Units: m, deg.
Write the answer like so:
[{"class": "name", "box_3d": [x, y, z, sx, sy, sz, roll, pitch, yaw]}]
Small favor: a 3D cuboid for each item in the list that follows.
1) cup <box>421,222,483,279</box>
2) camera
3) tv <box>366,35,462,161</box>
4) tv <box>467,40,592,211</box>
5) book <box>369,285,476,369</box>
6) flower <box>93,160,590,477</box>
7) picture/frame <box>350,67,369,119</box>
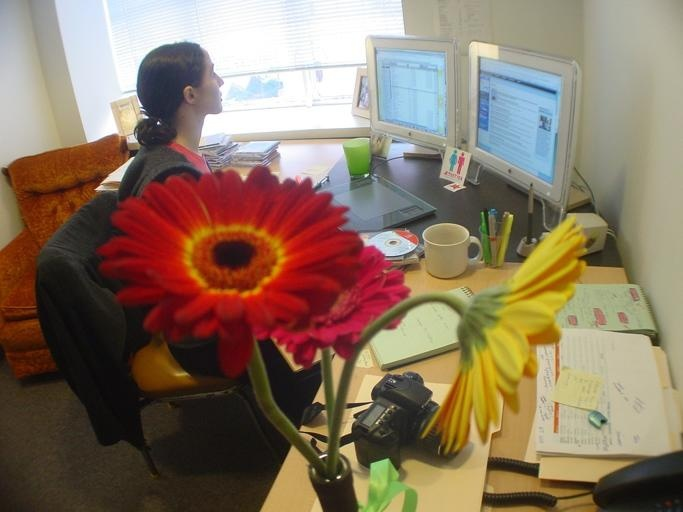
[{"class": "cup", "box_3d": [0.361, -0.006, 1.535, 0.186, 0.142, 0.154, 1, 45, 9]}, {"class": "camera", "box_3d": [0.157, 0.362, 1.006, 0.183, 0.148, 0.236, 10, 27, 40]}, {"class": "tv", "box_3d": [0.335, -0.724, 2.074, 0.077, 0.526, 0.570, -30, 37, -32]}, {"class": "tv", "box_3d": [0.682, -0.463, 1.691, 0.059, 0.508, 0.589, -14, 31, -19]}, {"class": "book", "box_3d": [0.222, 0.231, 1.287, 0.247, 0.037, 0.267, -15, 36, -1]}, {"class": "flower", "box_3d": [0.014, 0.090, 0.482, 0.446, 0.355, 0.201, 3, 24, 14]}, {"class": "picture/frame", "box_3d": [0.117, -1.037, 2.946, 0.083, 0.296, 0.193, -6, 24, -7]}]
